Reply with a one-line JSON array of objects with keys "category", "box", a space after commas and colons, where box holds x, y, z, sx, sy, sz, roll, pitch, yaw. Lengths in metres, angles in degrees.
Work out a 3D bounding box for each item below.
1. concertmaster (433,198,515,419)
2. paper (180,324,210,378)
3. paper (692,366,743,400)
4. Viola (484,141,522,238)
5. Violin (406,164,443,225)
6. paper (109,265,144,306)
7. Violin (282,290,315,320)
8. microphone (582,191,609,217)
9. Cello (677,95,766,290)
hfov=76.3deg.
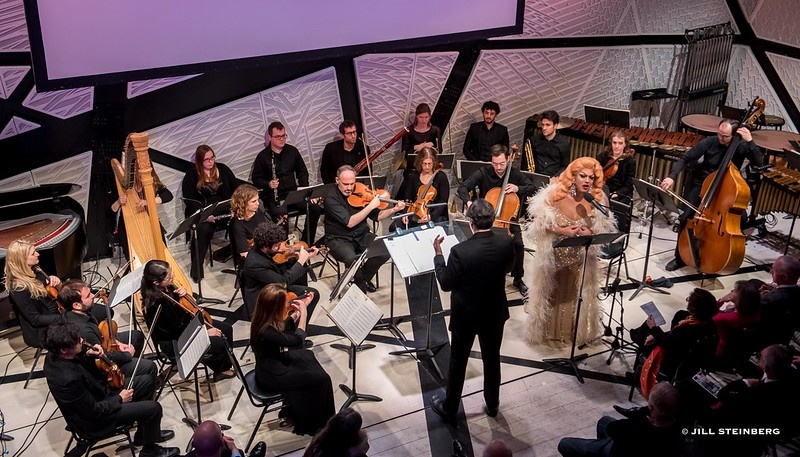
[{"category": "concertmaster", "box": [0.926, 1.108, 6.470, 0.927, 2.944, 0.630, 0, 2, 6]}, {"category": "paper", "box": [-2.497, 1.503, 6.191, 0.351, 0.615, 0.444, -1, 2, -23]}, {"category": "paper", "box": [3.806, 1.866, 6.087, 0.525, 0.262, 0.248, 0, 2, -5]}, {"category": "Viola", "box": [1.745, -0.554, 8.518, 0.764, 1.689, 0.492, 4, 2, 40]}, {"category": "Violin", "box": [0.422, -0.601, 9.076, 0.390, 1.039, 0.603, 0, 1, -35]}, {"category": "paper", "box": [-3.640, 0.751, 6.836, 0.414, 0.511, 0.507, -1, 2, -27]}, {"category": "Violin", "box": [-1.400, 1.028, 7.158, 0.339, 0.289, 0.887, 0, 2, -6]}, {"category": "microphone", "box": [2.772, -0.344, 7.290, 0.420, 0.112, 0.111, 41, -11, 23]}, {"category": "Cello", "box": [5.425, -0.551, 8.754, 1.295, 3.119, 1.080, -1, 1, -15]}]
